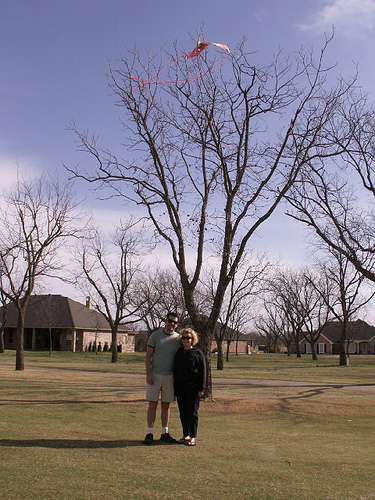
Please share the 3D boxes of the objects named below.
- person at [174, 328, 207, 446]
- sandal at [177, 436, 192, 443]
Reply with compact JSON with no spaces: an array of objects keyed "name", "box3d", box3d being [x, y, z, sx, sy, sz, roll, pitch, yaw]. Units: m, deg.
[{"name":"person","box3d":[0.023,1.901,8.683,0.432,1.572,0.525,-2,-9,20]},{"name":"sandal","box3d":[-0.053,2.611,8.475,0.059,0.069,0.168,-23,-30,34]}]
